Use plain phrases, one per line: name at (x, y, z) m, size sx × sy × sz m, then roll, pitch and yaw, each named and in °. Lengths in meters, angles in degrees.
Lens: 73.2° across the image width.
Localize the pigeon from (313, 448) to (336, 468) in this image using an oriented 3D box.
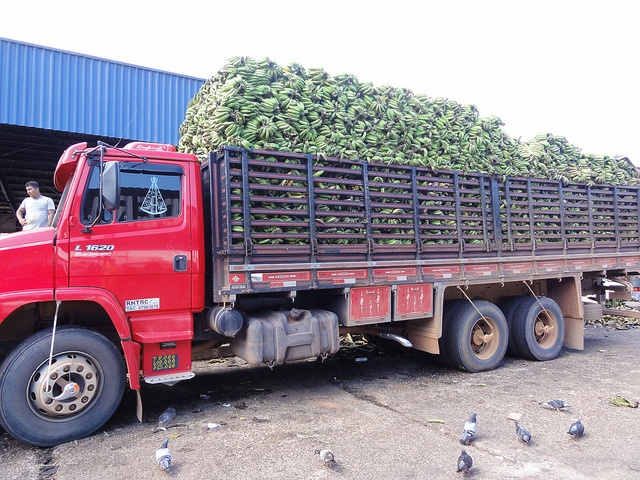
pigeon at (0.060, 2.387, 4.730) m, size 0.113 × 0.100 × 0.256 m, roll 6°, pitch -12°, yaw -20°

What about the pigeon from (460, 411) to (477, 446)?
pigeon at (1.802, 2.335, 5.277) m, size 0.159 × 0.267 × 0.453 m, roll 8°, pitch 33°, yaw 33°

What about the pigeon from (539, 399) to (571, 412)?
pigeon at (3.303, 2.319, 6.104) m, size 0.386 × 0.140 × 0.373 m, roll 0°, pitch 1°, yaw 26°

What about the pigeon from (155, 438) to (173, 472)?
pigeon at (-1.651, 2.325, 4.683) m, size 0.137 × 0.226 × 0.366 m, roll 1°, pitch 16°, yaw -18°

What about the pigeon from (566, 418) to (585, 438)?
pigeon at (3.143, 2.305, 5.283) m, size 0.150 × 0.165 × 0.281 m, roll -3°, pitch 6°, yaw 45°
